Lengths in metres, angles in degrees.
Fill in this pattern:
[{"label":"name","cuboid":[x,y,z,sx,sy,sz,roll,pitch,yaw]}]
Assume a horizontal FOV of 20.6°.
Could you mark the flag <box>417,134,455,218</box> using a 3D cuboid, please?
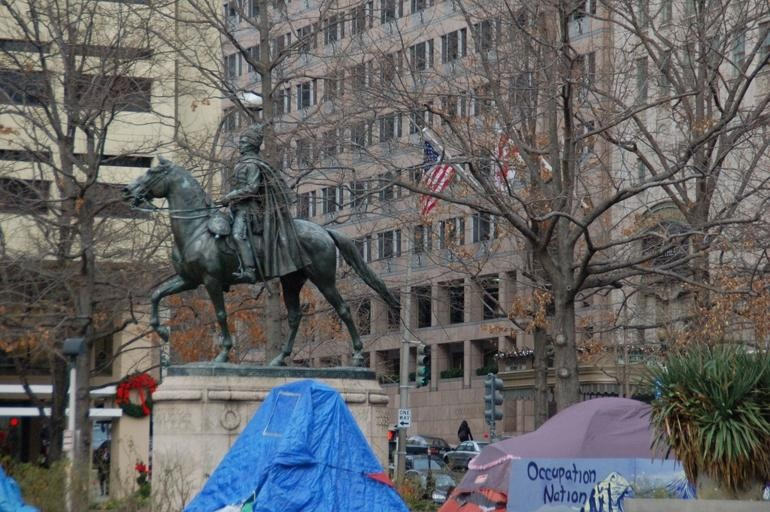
[{"label":"flag","cuboid":[1.706,-2.771,73.477,1.086,2.913,1.026,1,-2,-16]}]
